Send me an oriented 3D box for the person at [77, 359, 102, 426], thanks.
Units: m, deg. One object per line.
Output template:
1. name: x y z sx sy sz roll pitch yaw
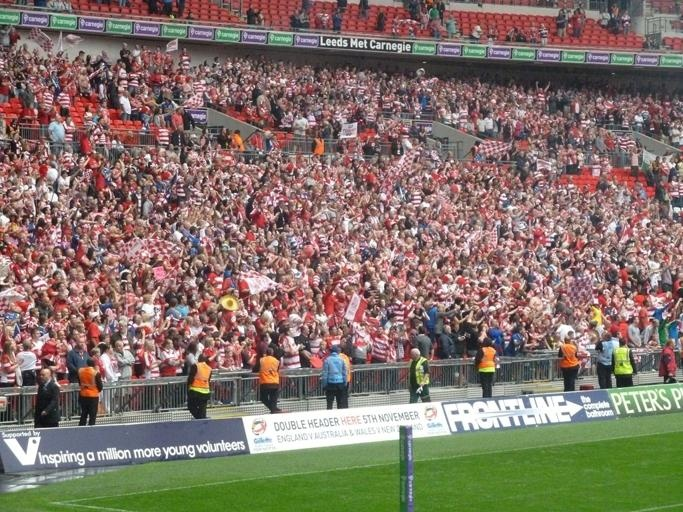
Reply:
1. person: -6.467 3.587 43.639 0.579 2.046 0.537 6 22 1

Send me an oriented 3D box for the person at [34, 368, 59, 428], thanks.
1. person: -7.489 3.737 42.991 0.665 1.420 1.150 -2 55 -9
